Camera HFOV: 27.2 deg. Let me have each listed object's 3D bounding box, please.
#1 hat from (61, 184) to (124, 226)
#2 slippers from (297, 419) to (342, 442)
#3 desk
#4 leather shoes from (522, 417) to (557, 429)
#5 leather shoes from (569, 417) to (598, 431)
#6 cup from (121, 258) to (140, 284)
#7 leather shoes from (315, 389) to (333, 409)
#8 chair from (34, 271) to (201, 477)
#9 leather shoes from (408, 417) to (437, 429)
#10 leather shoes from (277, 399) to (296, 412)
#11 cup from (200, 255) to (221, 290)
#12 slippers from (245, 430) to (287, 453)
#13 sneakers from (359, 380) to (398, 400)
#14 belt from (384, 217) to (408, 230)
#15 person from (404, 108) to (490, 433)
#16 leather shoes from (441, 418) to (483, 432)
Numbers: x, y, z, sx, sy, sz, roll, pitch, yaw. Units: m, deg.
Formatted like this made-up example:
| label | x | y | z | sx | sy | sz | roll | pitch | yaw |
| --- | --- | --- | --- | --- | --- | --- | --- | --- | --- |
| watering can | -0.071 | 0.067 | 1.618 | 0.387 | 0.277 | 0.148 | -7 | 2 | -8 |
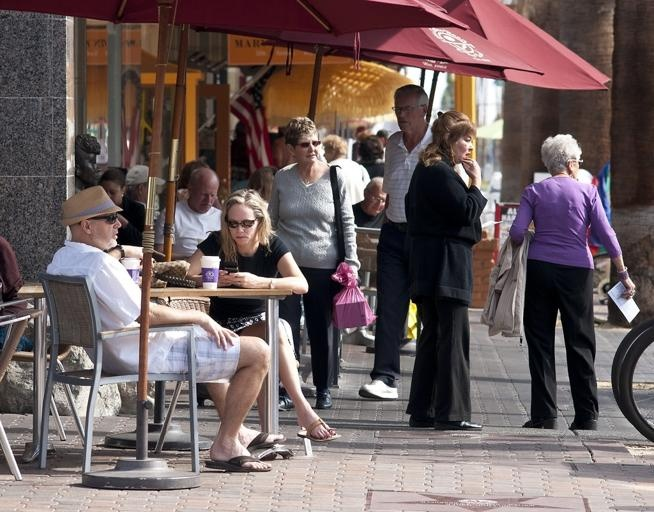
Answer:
| label | x | y | z | sx | sy | sz | roll | pitch | yaw |
| --- | --- | --- | --- | --- | --- | --- | --- | --- | --- |
| hat | -1.640 | -0.304 | 9.250 | 0.302 | 0.121 | 0.274 | -15 | 11 | 9 |
| slippers | -0.059 | 1.279 | 9.813 | 0.298 | 0.128 | 0.158 | -1 | 0 | 31 |
| desk | -1.040 | 0.672 | 9.786 | 1.585 | 1.213 | 1.318 | 0 | -3 | -6 |
| leather shoes | 1.740 | 1.338 | 10.898 | 0.277 | 0.129 | 0.101 | 3 | 1 | 15 |
| leather shoes | 2.065 | 1.354 | 10.782 | 0.219 | 0.095 | 0.201 | 2 | 7 | 14 |
| cup | -1.381 | 0.111 | 9.486 | 0.156 | 0.187 | 0.170 | -3 | 2 | 0 |
| leather shoes | -0.031 | 1.210 | 11.356 | 0.118 | 0.130 | 0.330 | 0 | -7 | 2 |
| chair | -1.470 | 0.835 | 9.191 | 1.184 | 1.421 | 0.624 | 1 | 7 | 6 |
| leather shoes | 0.776 | 1.339 | 10.811 | 0.221 | 0.089 | 0.079 | 1 | 0 | -9 |
| leather shoes | -0.347 | 1.248 | 11.331 | 0.090 | 0.108 | 0.269 | 2 | 3 | 14 |
| cup | -0.827 | 0.120 | 9.455 | 0.186 | 0.248 | 0.185 | 1 | -4 | 0 |
| slippers | -0.445 | 1.334 | 9.681 | 0.280 | 0.088 | 0.111 | -2 | 2 | -28 |
| sneakers | 0.459 | 1.172 | 11.716 | 0.393 | 0.180 | 0.144 | 9 | -8 | -24 |
| belt | 0.618 | -0.257 | 11.475 | 0.144 | 0.038 | 0.104 | 14 | -2 | -28 |
| person | 0.951 | 0.125 | 10.728 | 0.652 | 2.496 | 0.523 | 2 | 7 | 15 |
| leather shoes | 1.064 | 1.342 | 10.611 | 0.341 | 0.139 | 0.115 | -1 | -1 | -1 |
